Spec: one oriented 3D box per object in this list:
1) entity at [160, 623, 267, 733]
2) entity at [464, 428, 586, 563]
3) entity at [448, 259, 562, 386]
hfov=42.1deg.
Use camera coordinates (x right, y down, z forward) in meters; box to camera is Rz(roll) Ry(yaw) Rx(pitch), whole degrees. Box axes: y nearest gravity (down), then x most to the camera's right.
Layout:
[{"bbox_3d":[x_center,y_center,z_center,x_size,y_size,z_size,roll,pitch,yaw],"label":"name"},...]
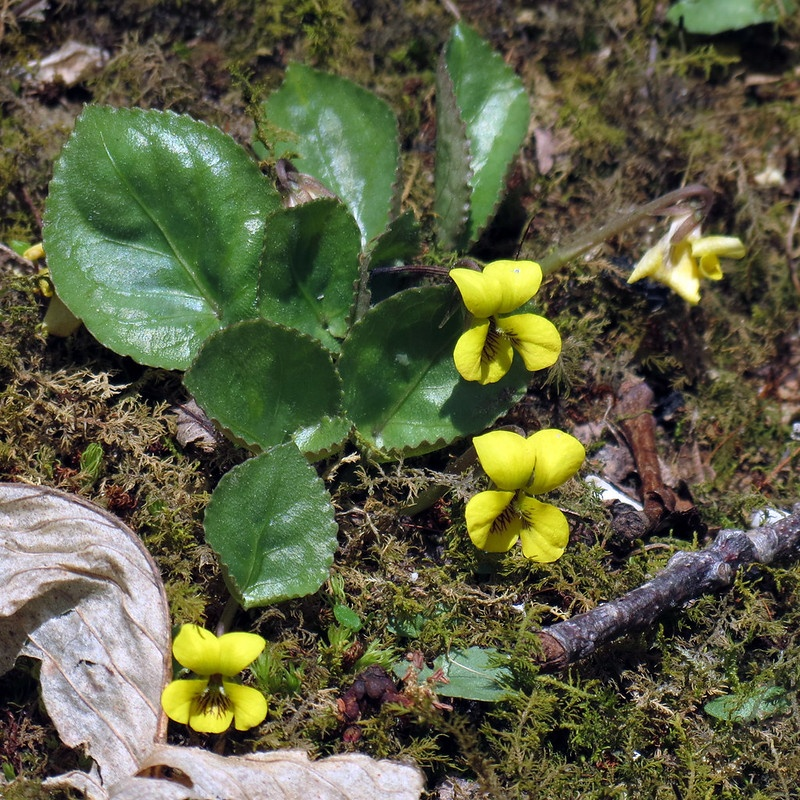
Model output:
[{"bbox_3d":[-0.517,0.786,2.941,0.324,0.129,0.277,4,72,-24],"label":"entity"},{"bbox_3d":[0.335,0.283,3.123,0.418,0.142,0.373,10,95,-25],"label":"entity"},{"bbox_3d":[0.315,-0.223,3.141,0.382,0.186,0.361,-5,89,-7],"label":"entity"}]
